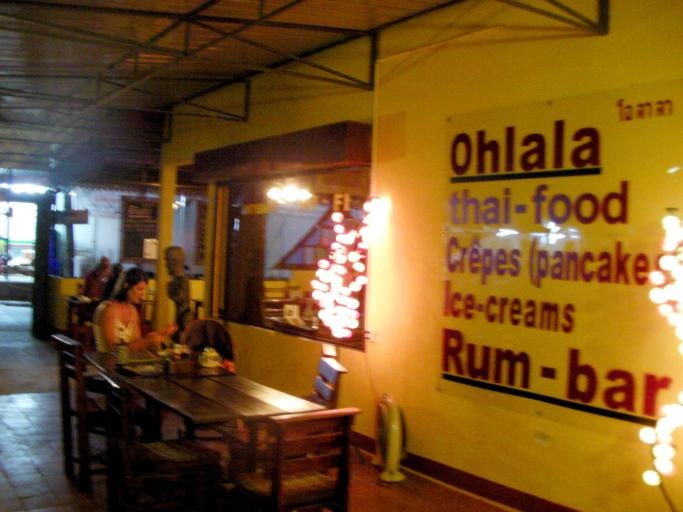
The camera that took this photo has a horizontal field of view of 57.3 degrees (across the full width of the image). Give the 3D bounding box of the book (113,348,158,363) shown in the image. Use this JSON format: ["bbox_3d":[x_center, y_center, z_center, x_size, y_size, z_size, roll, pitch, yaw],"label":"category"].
[{"bbox_3d":[-1.992,0.975,6.106,0.301,0.076,0.292,0,-1,11],"label":"book"}]
